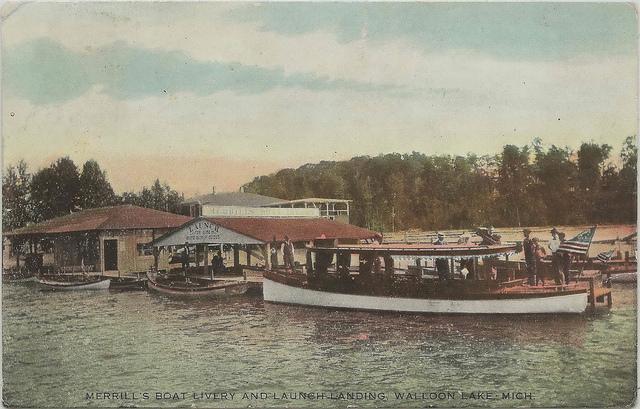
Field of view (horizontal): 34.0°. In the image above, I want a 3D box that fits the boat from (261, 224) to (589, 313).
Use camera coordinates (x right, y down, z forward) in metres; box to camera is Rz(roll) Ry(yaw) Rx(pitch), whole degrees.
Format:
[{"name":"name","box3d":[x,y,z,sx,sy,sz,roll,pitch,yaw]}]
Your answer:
[{"name":"boat","box3d":[6.889,4.483,69.819,20.022,5.543,5.055,-2,-3,18]}]
